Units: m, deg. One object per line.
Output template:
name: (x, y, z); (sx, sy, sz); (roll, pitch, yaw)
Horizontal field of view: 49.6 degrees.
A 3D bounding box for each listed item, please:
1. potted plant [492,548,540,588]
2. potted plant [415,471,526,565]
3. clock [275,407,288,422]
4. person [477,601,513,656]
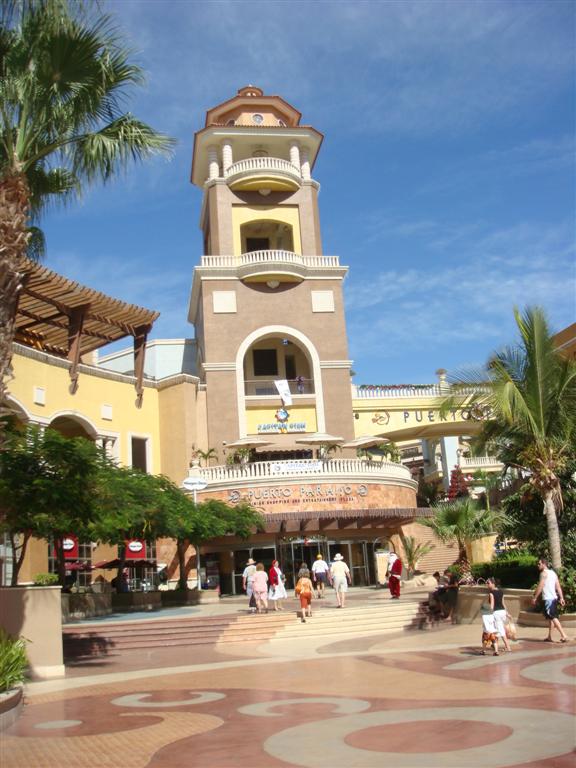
potted plant: (6.723, 5.568, 18.314); (0.784, 0.950, 2.631); (-5, -10, 3)
potted plant: (6.152, 4.925, 21.882); (3.210, 3.419, 3.013); (4, -5, 3)
clock: (-0.424, 1.957, 38.622); (1.020, 1.012, 0.140); (1, -26, -3)
person: (3.990, 4.700, 12.153); (0.548, 1.032, 1.804); (-8, -11, 15)
